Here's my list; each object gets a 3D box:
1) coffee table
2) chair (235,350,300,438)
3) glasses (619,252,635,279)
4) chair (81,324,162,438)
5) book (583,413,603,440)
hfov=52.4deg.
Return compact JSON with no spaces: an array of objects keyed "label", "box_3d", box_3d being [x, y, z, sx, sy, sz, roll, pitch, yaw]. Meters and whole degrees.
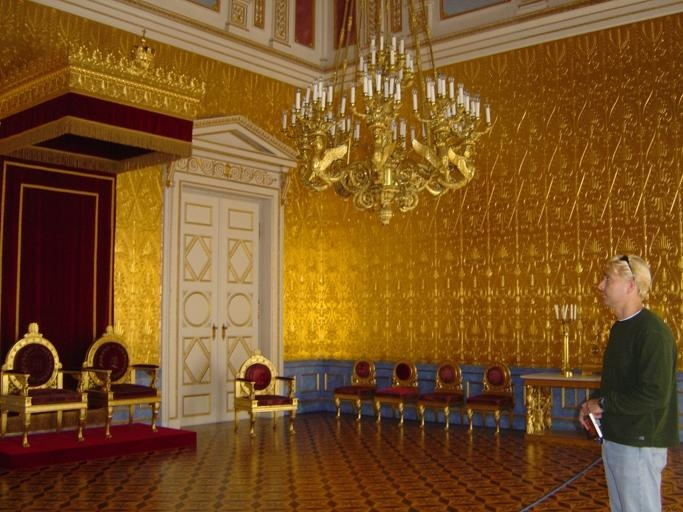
[{"label":"coffee table","box_3d":[2.755,1.849,8.686,1.109,1.097,0.676,1,2,29]},{"label":"chair","box_3d":[-0.991,1.813,9.117,0.680,1.088,0.571,5,-9,-37]},{"label":"glasses","box_3d":[1.751,0.042,4.198,0.023,0.099,0.104,-15,-33,-10]},{"label":"chair","box_3d":[-2.658,1.523,8.410,0.590,1.276,0.747,-7,-8,34]},{"label":"book","box_3d":[1.504,1.002,4.104,0.029,0.143,0.134,-17,-3,7]}]
